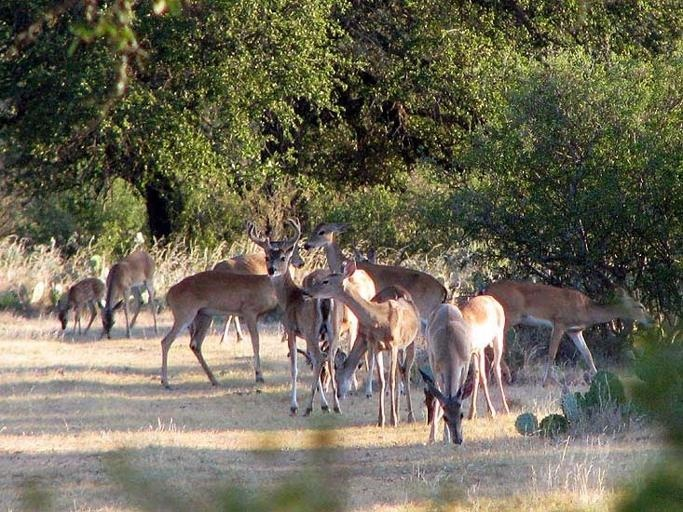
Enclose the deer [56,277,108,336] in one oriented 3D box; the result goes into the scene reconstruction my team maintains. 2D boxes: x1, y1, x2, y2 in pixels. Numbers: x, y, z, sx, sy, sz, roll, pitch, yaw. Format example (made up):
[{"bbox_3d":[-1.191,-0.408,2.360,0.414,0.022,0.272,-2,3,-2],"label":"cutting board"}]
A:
[{"bbox_3d":[-6.278,1.229,28.532,0.398,1.335,1.663,10,30,28],"label":"deer"}]
